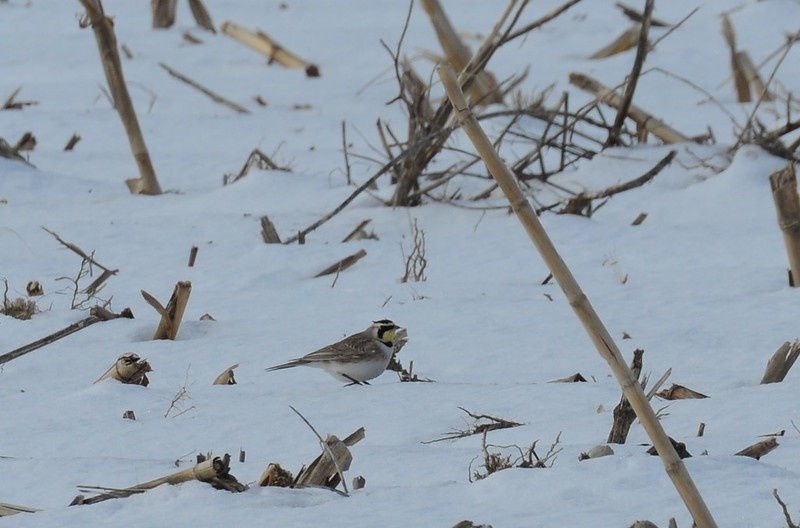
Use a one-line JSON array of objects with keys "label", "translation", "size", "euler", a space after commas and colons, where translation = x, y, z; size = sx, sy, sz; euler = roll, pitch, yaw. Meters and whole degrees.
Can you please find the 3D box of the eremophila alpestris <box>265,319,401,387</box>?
[{"label": "eremophila alpestris", "translation": [-0.550, 1.195, 14.249], "size": [1.253, 0.620, 0.605], "euler": [-18, 59, -21]}]
